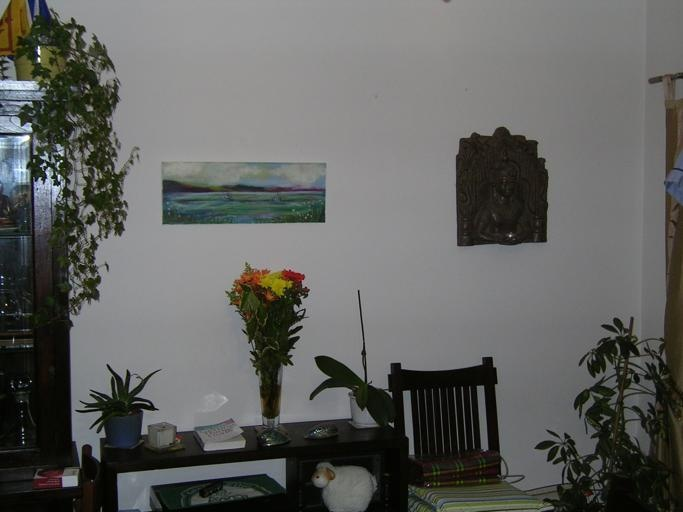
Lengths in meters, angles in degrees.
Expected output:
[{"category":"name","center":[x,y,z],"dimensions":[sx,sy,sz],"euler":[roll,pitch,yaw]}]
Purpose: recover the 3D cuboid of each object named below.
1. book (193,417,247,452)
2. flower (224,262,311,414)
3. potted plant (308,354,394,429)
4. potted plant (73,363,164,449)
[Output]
[{"category":"book","center":[-0.597,0.879,3.435],"dimensions":[0.245,0.113,0.254],"euler":[1,-4,-13]},{"category":"flower","center":[-0.366,0.425,3.487],"dimensions":[0.396,0.778,0.235],"euler":[1,-3,-10]},{"category":"potted plant","center":[0.078,0.674,3.544],"dimensions":[0.323,0.176,0.382],"euler":[13,0,18]},{"category":"potted plant","center":[-1.131,0.730,3.512],"dimensions":[0.361,0.350,0.386],"euler":[1,-8,-16]}]
